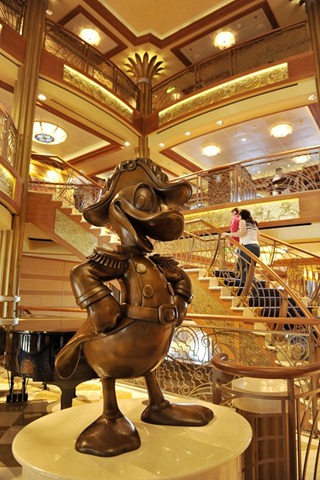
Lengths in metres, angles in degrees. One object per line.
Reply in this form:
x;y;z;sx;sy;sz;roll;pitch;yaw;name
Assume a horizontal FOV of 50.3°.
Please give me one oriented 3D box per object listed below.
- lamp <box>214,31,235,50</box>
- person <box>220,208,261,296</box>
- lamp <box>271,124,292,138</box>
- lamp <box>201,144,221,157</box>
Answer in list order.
1.900;-5.867;9.974;0.626;0.263;0.631;2;-6;12;lamp
1.193;0.164;4.953;0.489;1.279;0.776;2;-6;16;person
3.395;-3.081;9.534;0.567;0.212;0.488;2;-6;9;lamp
1.668;-2.855;11.024;0.596;0.180;0.953;2;-6;9;lamp
